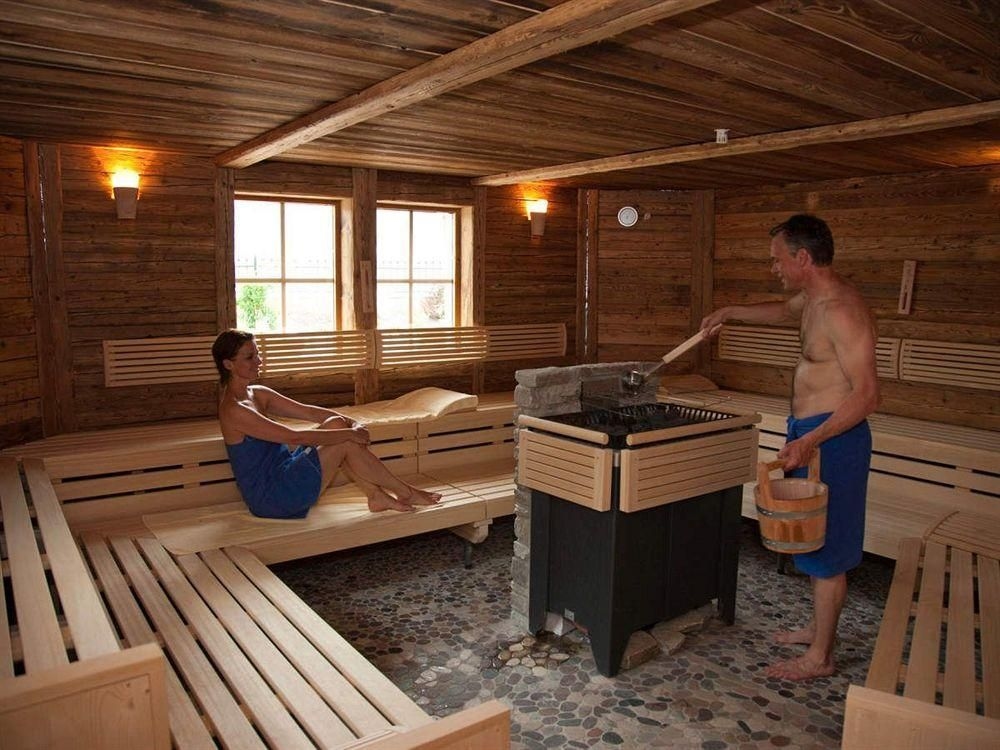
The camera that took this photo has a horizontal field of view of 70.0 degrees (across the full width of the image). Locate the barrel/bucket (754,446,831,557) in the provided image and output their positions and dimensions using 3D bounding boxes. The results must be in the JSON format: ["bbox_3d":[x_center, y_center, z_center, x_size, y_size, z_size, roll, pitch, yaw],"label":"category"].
[{"bbox_3d":[1.218,0.573,3.011,0.284,0.486,0.378,6,15,22],"label":"barrel/bucket"}]

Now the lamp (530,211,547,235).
[{"bbox_3d":[0.339,-1.310,6.200,0.115,0.199,0.212,14,19,43],"label":"lamp"}]

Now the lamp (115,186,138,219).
[{"bbox_3d":[-2.371,-1.099,4.552,0.143,0.194,0.126,-6,15,-23],"label":"lamp"}]

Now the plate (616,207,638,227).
[{"bbox_3d":[1.129,-1.423,6.372,0.193,0.198,0.055,1,15,2],"label":"plate"}]

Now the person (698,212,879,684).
[{"bbox_3d":[1.429,0.331,3.332,0.539,2.118,0.812,7,16,23],"label":"person"}]

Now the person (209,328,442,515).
[{"bbox_3d":[-0.959,0.325,4.162,1.458,0.856,0.519,5,14,3],"label":"person"}]
